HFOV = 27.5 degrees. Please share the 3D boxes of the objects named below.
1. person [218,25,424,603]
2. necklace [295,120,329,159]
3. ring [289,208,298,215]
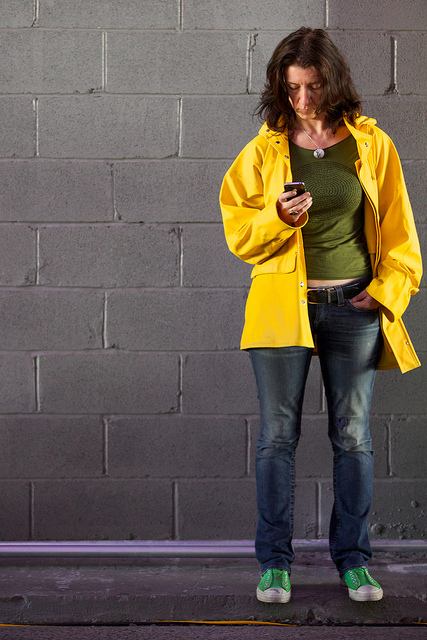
[{"bbox_3d":[0.321,0.000,2.389,0.521,1.557,0.365,-4,10,-10],"label":"person"},{"bbox_3d":[0.268,-0.486,2.372,0.093,0.108,0.096,-1,9,4],"label":"necklace"},{"bbox_3d":[0.205,-0.278,2.253,0.013,0.013,0.004,-7,15,0],"label":"ring"}]
